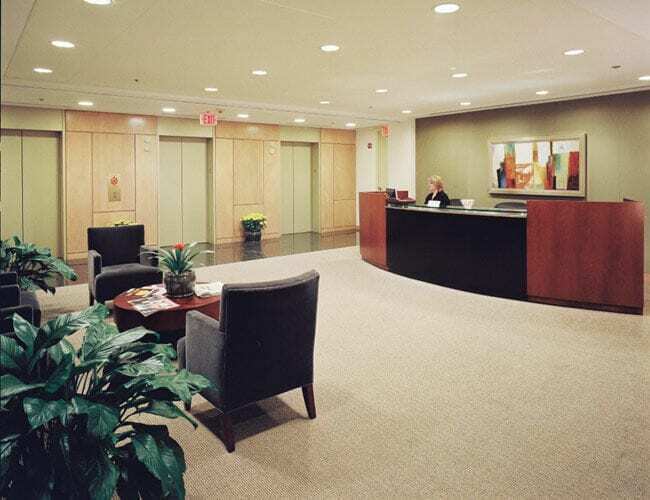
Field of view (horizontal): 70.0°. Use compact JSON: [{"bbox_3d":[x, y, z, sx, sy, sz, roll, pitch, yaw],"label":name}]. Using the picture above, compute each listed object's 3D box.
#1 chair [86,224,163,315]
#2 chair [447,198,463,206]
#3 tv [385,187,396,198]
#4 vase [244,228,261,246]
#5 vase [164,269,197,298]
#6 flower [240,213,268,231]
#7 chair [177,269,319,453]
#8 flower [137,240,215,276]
[{"bbox_3d":[-2.852,0.244,6.638,0.981,1.255,1.042,-5,6,-20],"label":"chair"},{"bbox_3d":[2.679,-0.992,9.542,0.247,0.200,0.261,1,3,16],"label":"chair"},{"bbox_3d":[1.279,-1.127,8.985,0.050,0.188,0.196,5,1,-35],"label":"tv"},{"bbox_3d":[-1.925,-0.358,12.342,0.375,0.275,0.359,1,0,-28],"label":"vase"},{"bbox_3d":[-1.592,0.344,5.104,0.286,0.233,0.296,-1,2,-24],"label":"vase"},{"bbox_3d":[-1.912,-0.740,12.365,0.476,0.358,0.486,0,0,37],"label":"flower"},{"bbox_3d":[-0.515,0.747,4.159,1.032,1.603,1.274,-4,9,-39],"label":"chair"},{"bbox_3d":[-1.600,0.089,5.158,0.748,0.321,0.711,-10,9,-15],"label":"flower"}]
